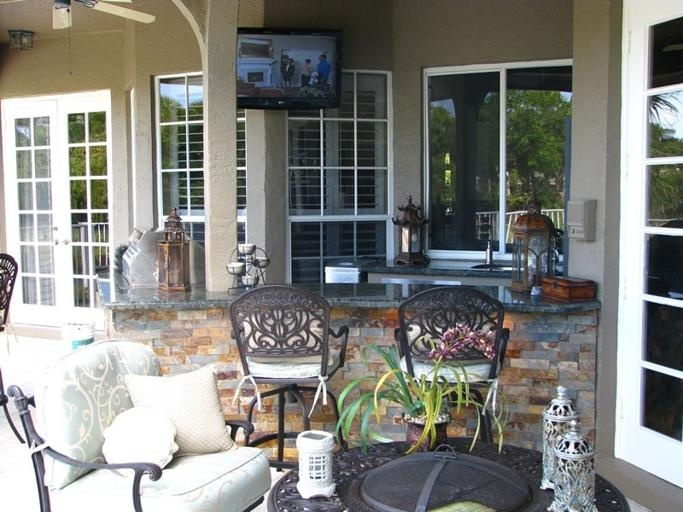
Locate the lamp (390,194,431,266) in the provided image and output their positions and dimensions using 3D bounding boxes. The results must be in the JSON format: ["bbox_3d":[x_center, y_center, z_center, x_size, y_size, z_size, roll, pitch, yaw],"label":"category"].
[{"bbox_3d":[0.684,-0.257,6.240,0.339,0.654,0.523,-3,7,5],"label":"lamp"}]

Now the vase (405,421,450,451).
[{"bbox_3d":[0.420,0.886,3.116,0.142,0.118,0.149,0,-6,3],"label":"vase"}]

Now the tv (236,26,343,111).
[{"bbox_3d":[-0.491,-1.773,5.998,1.006,0.750,0.073,-4,7,-6],"label":"tv"}]

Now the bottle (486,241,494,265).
[{"bbox_3d":[1.430,-0.036,6.147,0.070,0.199,0.358,-2,7,12],"label":"bottle"}]

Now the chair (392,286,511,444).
[{"bbox_3d":[0.654,0.581,3.896,0.622,1.026,0.576,5,4,3],"label":"chair"}]

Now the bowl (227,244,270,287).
[{"bbox_3d":[-0.675,0.077,4.659,0.315,0.371,0.262,3,4,-15],"label":"bowl"}]

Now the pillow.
[{"bbox_3d":[-0.935,0.848,3.403,0.521,0.504,0.531,4,4,-32],"label":"pillow"}]

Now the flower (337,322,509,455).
[{"bbox_3d":[0.403,0.786,3.538,0.941,1.000,0.847,3,3,8],"label":"flower"}]
